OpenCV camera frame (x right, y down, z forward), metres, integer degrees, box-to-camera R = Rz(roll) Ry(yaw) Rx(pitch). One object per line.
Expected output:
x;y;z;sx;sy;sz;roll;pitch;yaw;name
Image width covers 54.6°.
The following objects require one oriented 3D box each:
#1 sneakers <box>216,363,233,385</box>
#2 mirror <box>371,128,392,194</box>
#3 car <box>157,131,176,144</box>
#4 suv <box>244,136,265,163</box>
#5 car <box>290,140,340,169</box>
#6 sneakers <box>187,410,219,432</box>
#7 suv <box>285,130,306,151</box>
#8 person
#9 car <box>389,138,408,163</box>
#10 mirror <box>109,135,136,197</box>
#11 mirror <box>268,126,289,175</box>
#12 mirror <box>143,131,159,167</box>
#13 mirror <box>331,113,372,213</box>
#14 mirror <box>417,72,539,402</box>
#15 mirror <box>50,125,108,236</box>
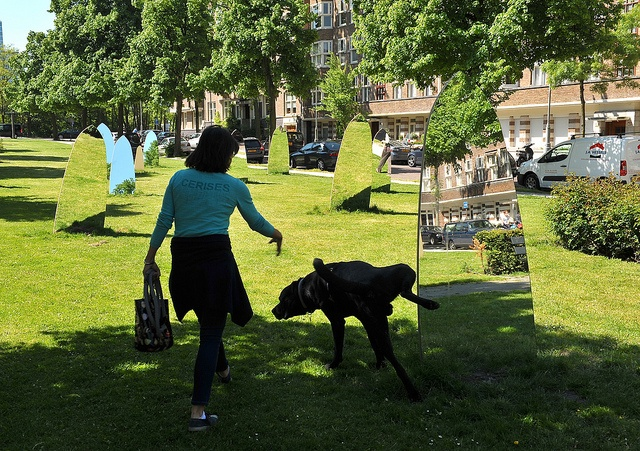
-1.194;1.842;7.649;0.105;0.293;0.123;1;44;6;sneakers
2.078;-2.128;21.257;0.220;2.801;2.447;4;10;23;mirror
-14.195;-8.178;56.557;1.876;0.882;2.831;-4;12;-20;car
-3.734;-4.277;35.047;0.886;0.833;1.967;-3;9;-7;suv
-0.258;-4.107;35.886;1.378;1.038;3.058;-5;9;-39;car
-1.293;2.178;6.883;0.136;0.164;0.370;3;3;32;sneakers
-1.717;-5.735;41.961;0.989;0.941;1.765;-2;14;-10;suv
-1.263;0.534;7.008;1.081;3.231;0.902;-10;16;-39;person
4.803;-4.549;38.078;1.555;1.178;3.451;0;7;9;car
-6.918;-2.068;21.674;0.906;2.149;0.031;1;-13;-19;mirror
-2.162;-3.723;32.077;0.697;3.004;0.464;1;7;-4;mirror
-9.593;-4.389;35.267;0.922;2.602;0.048;-2;48;-23;mirror
0.961;-1.828;18.949;1.207;2.713;0.637;1;13;0;mirror
1.854;-0.217;7.729;1.583;4.145;0.032;-2;34;17;mirror
-5.543;-1.045;14.389;1.174;2.509;0.690;-5;14;-25;mirror
